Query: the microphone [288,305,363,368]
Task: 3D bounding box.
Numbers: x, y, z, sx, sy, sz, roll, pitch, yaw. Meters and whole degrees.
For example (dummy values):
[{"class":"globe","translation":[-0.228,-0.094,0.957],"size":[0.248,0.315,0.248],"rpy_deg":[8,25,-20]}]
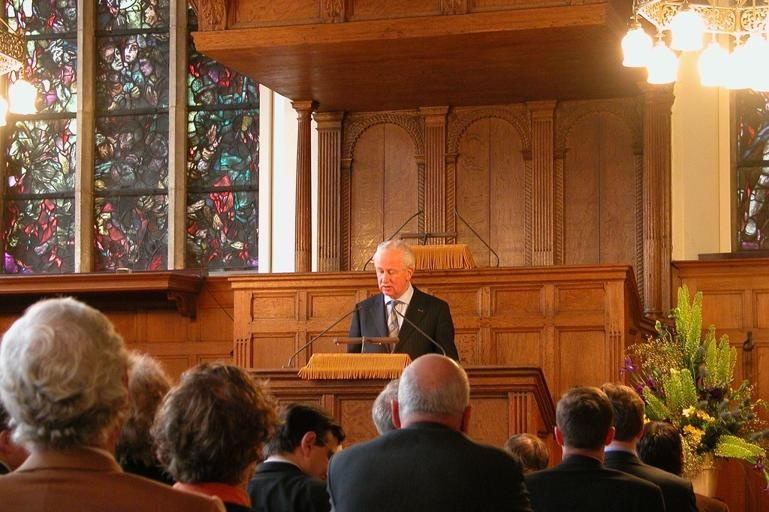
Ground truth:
[{"class":"microphone","translation":[-0.488,0.712,9.598],"size":[0.129,0.161,0.999],"rpy_deg":[-2,30,44]}]
